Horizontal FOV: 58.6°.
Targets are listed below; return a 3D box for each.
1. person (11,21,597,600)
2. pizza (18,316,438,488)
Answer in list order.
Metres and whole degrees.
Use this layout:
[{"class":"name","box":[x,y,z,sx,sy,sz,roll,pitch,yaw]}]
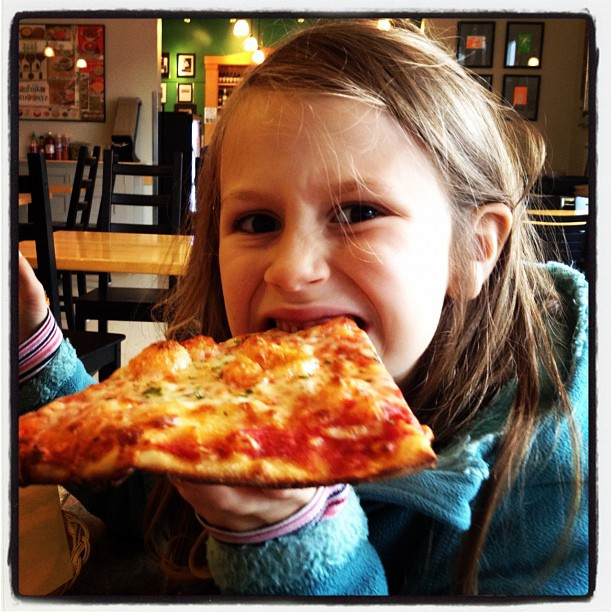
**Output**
[{"class":"person","box":[0.043,-0.088,1.262,1.003,1.284,0.879,-1,-7,10]},{"class":"pizza","box":[-0.095,0.136,0.682,0.368,0.056,0.294,-8,24,-10]}]
